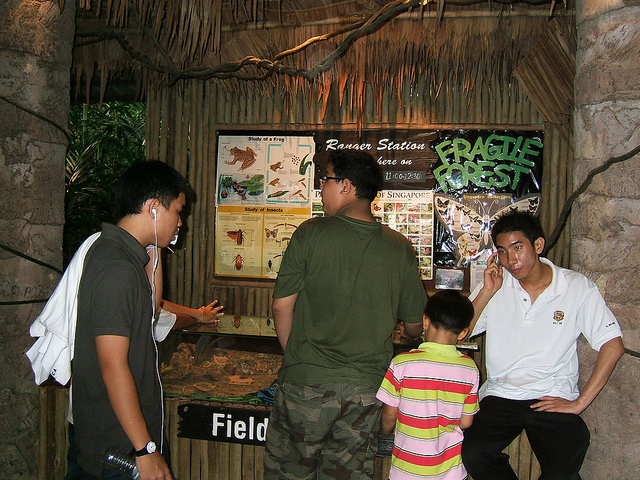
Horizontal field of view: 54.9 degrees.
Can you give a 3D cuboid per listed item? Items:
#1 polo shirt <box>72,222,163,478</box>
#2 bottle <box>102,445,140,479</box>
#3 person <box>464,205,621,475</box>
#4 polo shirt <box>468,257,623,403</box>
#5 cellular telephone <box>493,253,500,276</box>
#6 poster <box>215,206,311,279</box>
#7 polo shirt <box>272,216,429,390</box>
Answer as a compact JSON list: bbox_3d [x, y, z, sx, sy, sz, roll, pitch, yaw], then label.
[{"bbox_3d":[-1.057,0.583,3.258,0.464,1.332,0.311,0,1,-25],"label":"polo shirt"},{"bbox_3d":[-1.013,1.151,3.178,0.219,0.153,0.071,1,2,28],"label":"bottle"},{"bbox_3d":[1.369,0.649,3.851,0.894,1.638,0.515,1,1,14],"label":"person"},{"bbox_3d":[1.434,0.612,4.064,1.078,1.003,0.592,-5,-21,33],"label":"polo shirt"},{"bbox_3d":[1.174,0.166,4.097,0.042,0.135,0.093,5,7,-7],"label":"cellular telephone"},{"bbox_3d":[-0.465,-0.003,5.185,0.565,0.466,0.021,2,3,6],"label":"poster"},{"bbox_3d":[0.192,0.365,3.809,0.874,1.184,0.597,6,15,-4],"label":"polo shirt"}]
